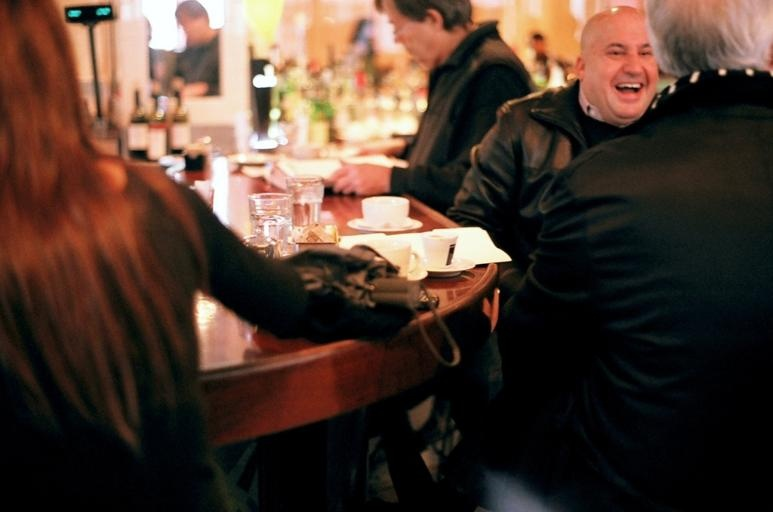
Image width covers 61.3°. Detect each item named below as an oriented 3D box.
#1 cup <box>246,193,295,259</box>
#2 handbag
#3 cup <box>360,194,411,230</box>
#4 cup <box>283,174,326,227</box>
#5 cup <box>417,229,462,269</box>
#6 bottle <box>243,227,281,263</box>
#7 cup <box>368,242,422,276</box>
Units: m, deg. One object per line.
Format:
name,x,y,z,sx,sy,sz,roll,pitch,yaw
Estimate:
cup,-0.277,-0.088,1.756,0.169,0.181,0.168,0,3,0
handbag,-0.050,0.080,1.286,0.239,0.102,0.309,-1,22,-26
cup,-0.003,-0.144,2.043,0.115,0.077,0.113,0,9,0
cup,-0.253,-0.177,2.059,0.159,0.222,0.154,0,5,0
cup,0.134,-0.016,1.673,0.092,0.069,0.085,1,2,0
bottle,-0.309,-0.033,1.568,0.105,0.080,0.080,0,22,7
cup,0.020,0.001,1.506,0.103,0.068,0.079,-4,9,-27
